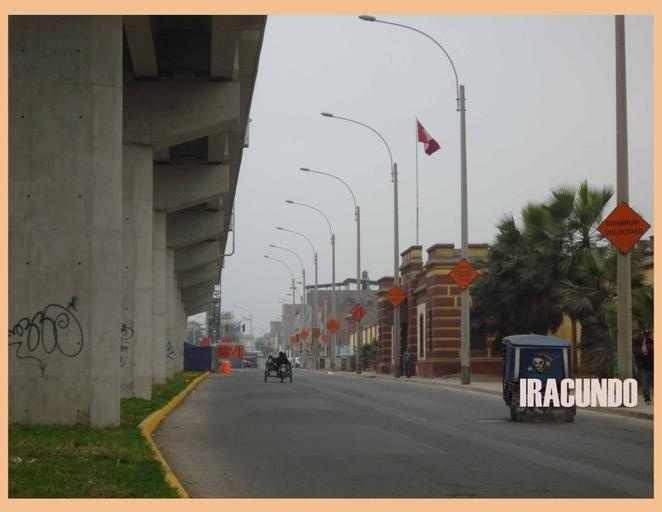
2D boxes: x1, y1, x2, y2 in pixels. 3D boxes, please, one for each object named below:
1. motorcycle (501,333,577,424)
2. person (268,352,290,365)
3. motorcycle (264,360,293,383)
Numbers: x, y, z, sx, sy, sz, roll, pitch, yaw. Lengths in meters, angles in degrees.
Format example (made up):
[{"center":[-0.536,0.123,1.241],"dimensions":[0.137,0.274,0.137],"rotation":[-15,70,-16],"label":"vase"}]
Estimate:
[{"center":[4.870,2.861,23.765],"dimensions":[1.529,2.052,1.237],"rotation":[0,-9,7],"label":"motorcycle"},{"center":[-2.528,4.927,48.342],"dimensions":[0.563,0.458,0.853],"rotation":[3,-9,-2],"label":"person"},{"center":[-2.517,5.409,48.081],"dimensions":[0.805,0.929,1.646],"rotation":[2,-3,-7],"label":"motorcycle"}]
